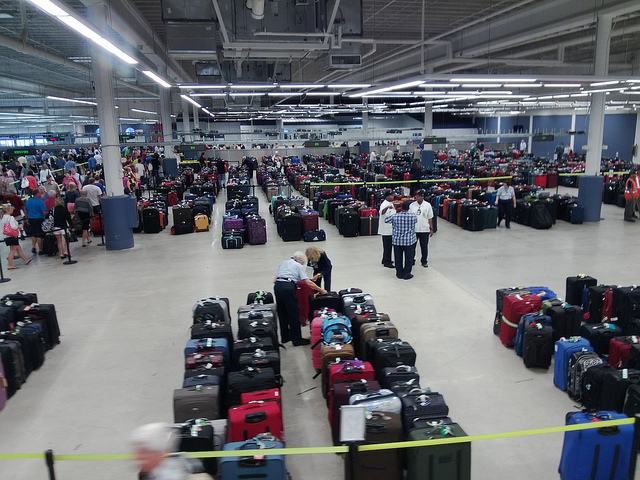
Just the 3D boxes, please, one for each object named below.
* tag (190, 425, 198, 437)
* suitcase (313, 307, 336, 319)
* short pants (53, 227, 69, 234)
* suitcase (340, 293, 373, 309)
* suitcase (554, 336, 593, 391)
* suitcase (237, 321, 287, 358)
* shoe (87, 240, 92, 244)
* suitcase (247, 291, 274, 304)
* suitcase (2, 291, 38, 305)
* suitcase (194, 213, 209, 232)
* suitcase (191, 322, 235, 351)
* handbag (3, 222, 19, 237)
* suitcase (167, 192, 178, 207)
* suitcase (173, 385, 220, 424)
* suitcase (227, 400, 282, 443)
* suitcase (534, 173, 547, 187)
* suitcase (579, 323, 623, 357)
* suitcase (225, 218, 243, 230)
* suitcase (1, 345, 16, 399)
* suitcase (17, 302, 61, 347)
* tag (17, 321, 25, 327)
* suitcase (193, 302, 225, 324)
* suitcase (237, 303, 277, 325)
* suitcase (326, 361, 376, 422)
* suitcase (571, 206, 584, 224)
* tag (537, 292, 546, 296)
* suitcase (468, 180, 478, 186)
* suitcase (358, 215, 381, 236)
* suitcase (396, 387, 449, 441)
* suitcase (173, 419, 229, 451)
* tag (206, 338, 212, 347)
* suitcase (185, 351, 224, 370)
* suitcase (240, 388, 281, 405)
[{"bbox_3d":[-1.568,2.378,6.072,0.081,0.133,0.081,0,-5,-13],"label":"tag"},{"bbox_3d":[0.061,1.315,8.918,0.265,0.233,0.185,0,-3,-5],"label":"suitcase"},{"bbox_3d":[-7.490,-0.256,14.159,0.321,0.166,0.229,-10,-11,42],"label":"short pants"},{"bbox_3d":[0.682,1.048,9.192,0.509,0.449,0.266,-3,4,-7],"label":"suitcase"},{"bbox_3d":[4.062,1.985,7.848,0.534,0.772,0.437,-5,5,-5],"label":"suitcase"},{"bbox_3d":[-0.987,1.566,8.284,0.691,0.944,0.541,-1,16,-5],"label":"suitcase"},{"bbox_3d":[-7.748,0.076,16.444,0.096,0.106,0.276,1,6,-1],"label":"shoe"},{"bbox_3d":[-1.154,1.133,9.481,0.382,0.322,0.269,-1,4,-9],"label":"suitcase"},{"bbox_3d":[-5.778,1.118,9.537,0.451,0.290,0.315,0,5,-13],"label":"suitcase"},{"bbox_3d":[-4.394,-0.602,18.070,0.611,0.743,0.440,-2,26,-10],"label":"suitcase"},{"bbox_3d":[-1.810,1.605,8.213,0.664,0.303,0.487,-3,11,-9],"label":"suitcase"},{"bbox_3d":[-8.158,-0.239,12.936,0.241,0.314,0.328,0,3,-12],"label":"handbag"},{"bbox_3d":[-6.860,-1.840,22.697,0.526,0.691,0.386,-1,11,3],"label":"suitcase"},{"bbox_3d":[-1.659,2.233,6.591,0.481,0.420,0.255,3,18,-3],"label":"suitcase"},{"bbox_3d":[-0.906,2.548,6.530,0.791,0.721,0.442,-1,23,-7],"label":"suitcase"},{"bbox_3d":[12.015,-3.209,26.647,0.939,0.743,0.173,-8,13,-30],"label":"suitcase"},{"bbox_3d":[4.555,1.651,7.967,0.481,0.423,0.256,-3,13,-7],"label":"suitcase"},{"bbox_3d":[-2.900,-0.507,16.625,0.617,0.316,0.416,3,-3,2],"label":"suitcase"},{"bbox_3d":[-4.992,2.114,7.841,0.118,0.827,0.228,-4,11,-10],"label":"suitcase"},{"bbox_3d":[-5.235,1.610,9.442,0.598,0.892,0.621,-2,23,16],"label":"suitcase"},{"bbox_3d":[-5.359,1.515,8.780,0.076,0.023,0.102,10,7,-3],"label":"tag"},{"bbox_3d":[-2.008,1.330,8.838,0.483,0.428,0.353,1,16,-7],"label":"suitcase"},{"bbox_3d":[-1.100,1.315,8.611,0.473,0.295,0.323,0,8,-4],"label":"suitcase"},{"bbox_3d":[0.450,2.053,7.103,0.638,0.394,0.507,-2,11,-1],"label":"suitcase"},{"bbox_3d":[9.300,-0.889,17.680,0.476,0.628,0.242,0,11,7],"label":"suitcase"},{"bbox_3d":[4.103,1.005,9.079,0.231,0.057,0.061,-1,6,-28],"label":"tag"},{"bbox_3d":[7.421,-2.745,23.877,0.583,0.152,0.609,1,15,4],"label":"suitcase"},{"bbox_3d":[1.666,-0.505,16.844,0.750,0.686,0.258,-2,10,-10],"label":"suitcase"},{"bbox_3d":[1.316,2.301,6.519,0.638,0.885,0.516,2,26,0],"label":"suitcase"},{"bbox_3d":[-1.521,2.450,6.359,0.464,0.422,0.763,-2,-7,6],"label":"suitcase"},{"bbox_3d":[-1.746,1.621,7.710,0.146,0.133,0.034,-2,-22,-1],"label":"tag"},{"bbox_3d":[-1.741,1.802,7.361,0.407,0.121,0.287,0,13,-4],"label":"suitcase"},{"bbox_3d":[-0.817,2.117,6.664,0.416,0.205,0.594,1,-13,-11],"label":"suitcase"}]
